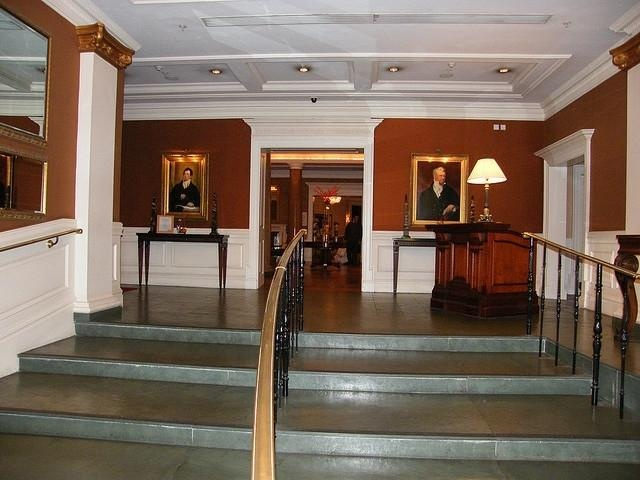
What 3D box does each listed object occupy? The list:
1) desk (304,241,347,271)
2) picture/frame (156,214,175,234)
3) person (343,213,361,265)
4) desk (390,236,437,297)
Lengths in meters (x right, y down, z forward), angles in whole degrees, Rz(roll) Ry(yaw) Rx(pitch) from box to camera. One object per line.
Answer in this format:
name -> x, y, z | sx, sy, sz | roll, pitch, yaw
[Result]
desk -> 0.200, 0.463, 15.427 | 1.113, 0.515, 1.089 | 0, 1, 0
picture/frame -> -2.913, -0.280, 9.543 | 0.366, 0.397, 0.043 | -3, -10, -4
person -> 1.000, 0.130, 15.524 | 0.465, 1.331, 0.728 | 2, 3, 4
desk -> 1.482, 0.540, 9.382 | 1.260, 1.119, 0.913 | 0, -3, 2
